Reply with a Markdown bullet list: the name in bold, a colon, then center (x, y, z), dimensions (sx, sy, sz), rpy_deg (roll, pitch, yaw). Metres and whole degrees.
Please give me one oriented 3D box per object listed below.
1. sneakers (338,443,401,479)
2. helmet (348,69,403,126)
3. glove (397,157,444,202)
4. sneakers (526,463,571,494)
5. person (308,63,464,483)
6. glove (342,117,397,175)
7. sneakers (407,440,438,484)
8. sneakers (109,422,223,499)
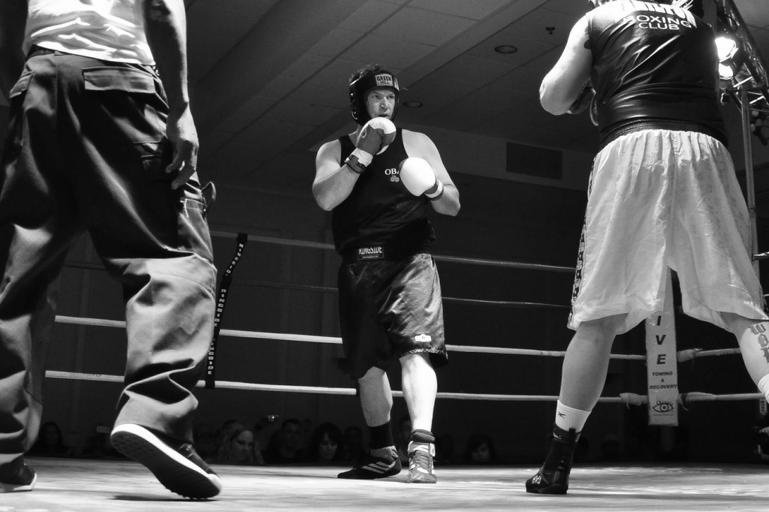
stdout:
- **sneakers**: center (-0.035, 0.878, 2.925), dimensions (0.319, 0.125, 0.104), rpy_deg (2, -17, -14)
- **helmet**: center (-0.073, -0.699, 3.079), dimensions (0.236, 0.259, 0.251), rpy_deg (1, -3, -34)
- **glove**: center (0.168, -0.302, 2.852), dimensions (0.179, 0.083, 0.135), rpy_deg (49, -15, -32)
- **sneakers**: center (0.498, 0.690, 2.165), dimensions (0.071, 0.084, 0.141), rpy_deg (12, -10, -36)
- **person**: center (0.020, 0.023, 2.966), dimensions (0.636, 1.786, 0.526), rpy_deg (-4, -14, 27)
- **glove**: center (-0.053, -0.455, 2.889), dimensions (0.196, 0.244, 0.085), rpy_deg (7, -13, -23)
- **sneakers**: center (0.136, 0.752, 2.562), dimensions (0.103, 0.139, 0.226), rpy_deg (2, -11, 2)
- **sneakers**: center (-0.513, 0.486, 1.649), dimensions (0.255, 0.176, 0.148), rpy_deg (6, -12, -18)
